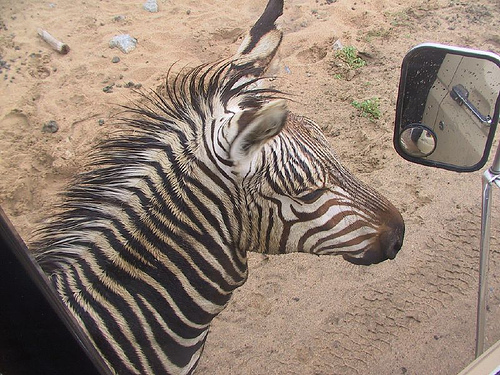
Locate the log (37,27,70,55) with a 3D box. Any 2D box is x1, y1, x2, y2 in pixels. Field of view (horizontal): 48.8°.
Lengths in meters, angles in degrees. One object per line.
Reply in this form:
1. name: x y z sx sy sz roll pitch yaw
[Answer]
1. log: -3.163 -2.318 8.728 0.759 0.179 0.163 34 81 26
